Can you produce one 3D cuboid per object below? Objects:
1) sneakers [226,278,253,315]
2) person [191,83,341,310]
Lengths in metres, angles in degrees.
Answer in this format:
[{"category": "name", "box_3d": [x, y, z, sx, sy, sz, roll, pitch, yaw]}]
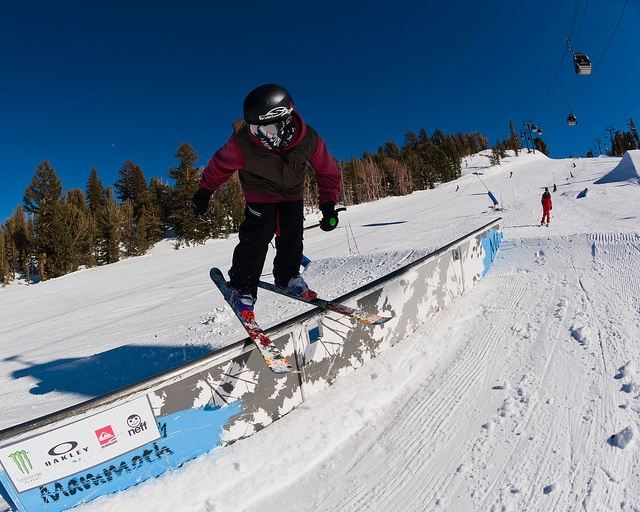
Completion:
[{"category": "sneakers", "box_3d": [-0.752, 0.386, 4.195, 0.109, 0.356, 0.164, -20, -32, -21]}, {"category": "person", "box_3d": [-0.512, -0.501, 4.380, 1.377, 2.505, 0.915, -3, 41, -9]}]
